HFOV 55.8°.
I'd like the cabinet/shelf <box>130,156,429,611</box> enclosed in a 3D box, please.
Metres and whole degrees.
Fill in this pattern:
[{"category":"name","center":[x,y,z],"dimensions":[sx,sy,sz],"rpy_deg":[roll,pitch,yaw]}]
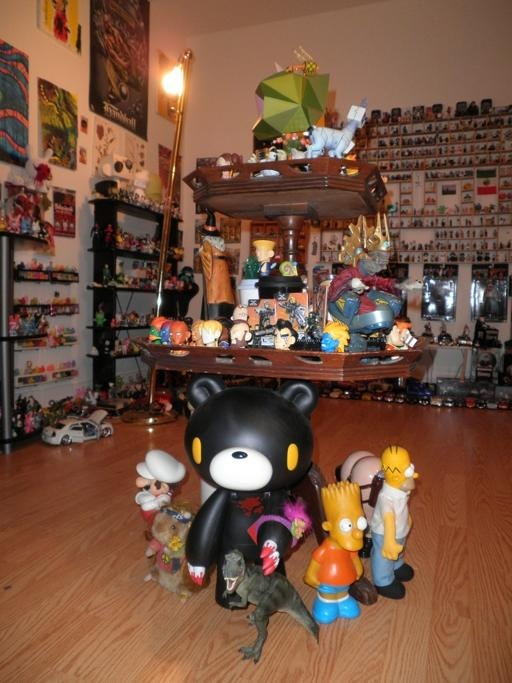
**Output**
[{"category":"cabinet/shelf","center":[0.118,0.042,1.702],"dimensions":[0.975,1.555,0.876],"rpy_deg":[0,4,-13]}]
